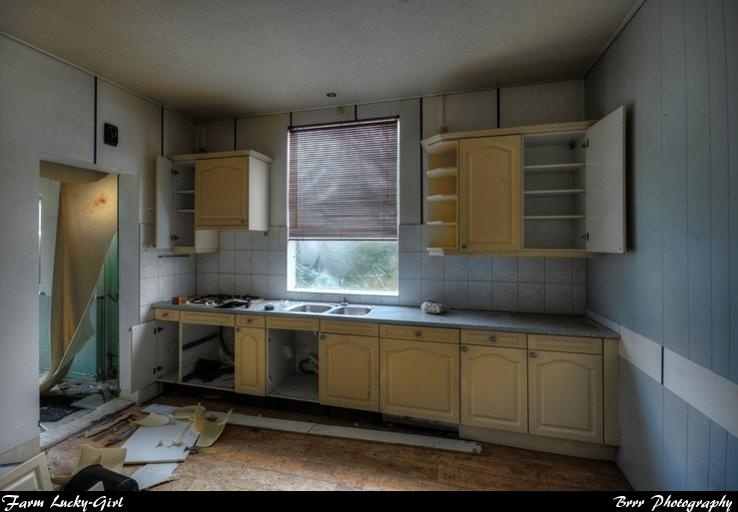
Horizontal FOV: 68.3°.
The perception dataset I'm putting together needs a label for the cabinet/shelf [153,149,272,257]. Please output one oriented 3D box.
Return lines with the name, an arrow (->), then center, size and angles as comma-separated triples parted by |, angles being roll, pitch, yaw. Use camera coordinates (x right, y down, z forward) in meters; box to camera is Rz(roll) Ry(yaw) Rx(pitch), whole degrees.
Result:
cabinet/shelf -> -1.679, -0.576, 6.056 | 1.182, 1.122, 0.571 | -1, 0, -1
